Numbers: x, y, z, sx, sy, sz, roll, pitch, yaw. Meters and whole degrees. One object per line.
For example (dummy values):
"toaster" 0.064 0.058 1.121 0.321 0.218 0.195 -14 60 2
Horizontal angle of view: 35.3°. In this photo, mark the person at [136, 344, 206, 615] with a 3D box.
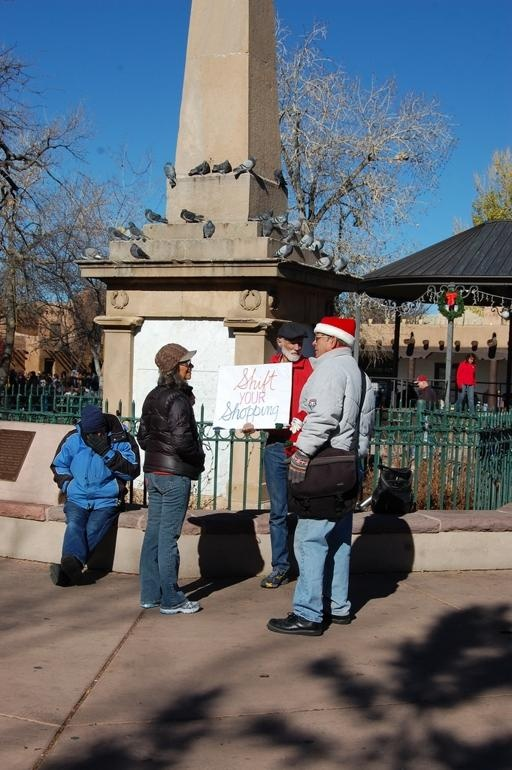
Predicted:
"person" -0.514 0.549 4.885 0.335 1.603 0.439 0 1 -37

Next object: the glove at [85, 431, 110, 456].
"glove" -1.071 0.393 5.542 0.123 0.173 0.066 -35 3 28

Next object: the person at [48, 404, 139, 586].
"person" -1.177 0.722 5.445 0.519 1.163 0.723 1 1 18

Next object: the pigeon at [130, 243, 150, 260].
"pigeon" -1.305 -1.499 8.957 0.201 0.198 0.375 1 0 -9

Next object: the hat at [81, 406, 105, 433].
"hat" -1.115 0.230 5.561 0.145 0.179 0.186 -3 1 -26

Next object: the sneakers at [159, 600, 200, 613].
"sneakers" -0.448 1.292 4.755 0.219 0.105 0.085 -1 2 -11

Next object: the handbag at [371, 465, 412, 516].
"handbag" 1.039 0.798 6.270 0.256 0.356 0.401 1 3 8

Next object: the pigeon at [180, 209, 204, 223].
"pigeon" -0.718 -1.870 8.937 0.238 0.142 0.156 -20 18 -32

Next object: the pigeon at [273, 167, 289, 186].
"pigeon" 0.286 -2.495 9.657 0.135 0.214 0.410 1 1 18

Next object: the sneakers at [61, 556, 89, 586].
"sneakers" -1.174 1.190 5.171 0.068 0.196 0.135 -19 16 -16

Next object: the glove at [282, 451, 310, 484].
"glove" 0.217 0.441 4.322 0.058 0.167 0.130 14 -8 -27

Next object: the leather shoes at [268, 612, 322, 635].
"leather shoes" 0.210 1.317 4.453 0.291 0.132 0.116 9 -8 13

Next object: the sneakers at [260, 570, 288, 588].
"sneakers" 0.125 1.302 5.406 0.078 0.090 0.205 5 -1 43

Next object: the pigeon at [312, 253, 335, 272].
"pigeon" 0.821 -1.486 9.691 0.127 0.186 0.386 6 -5 -4

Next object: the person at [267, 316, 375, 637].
"person" 0.361 0.487 4.496 0.436 1.773 0.621 1 1 21
